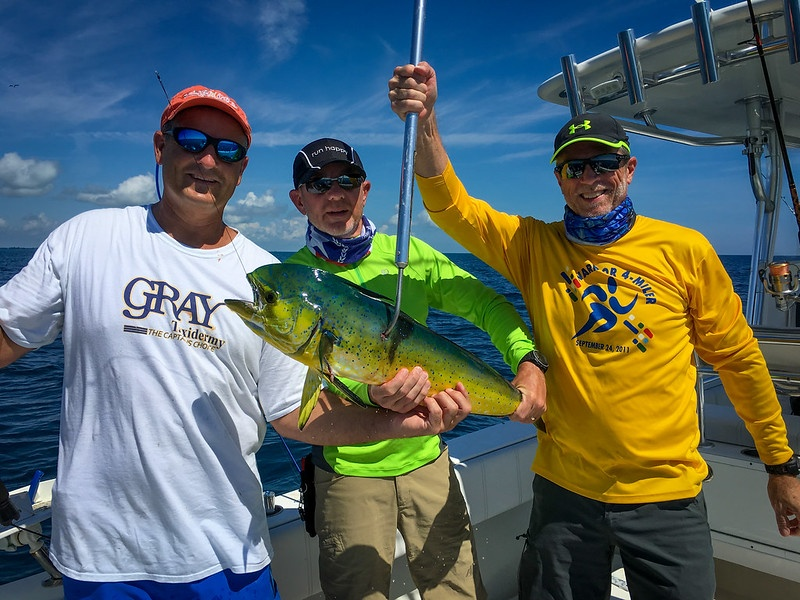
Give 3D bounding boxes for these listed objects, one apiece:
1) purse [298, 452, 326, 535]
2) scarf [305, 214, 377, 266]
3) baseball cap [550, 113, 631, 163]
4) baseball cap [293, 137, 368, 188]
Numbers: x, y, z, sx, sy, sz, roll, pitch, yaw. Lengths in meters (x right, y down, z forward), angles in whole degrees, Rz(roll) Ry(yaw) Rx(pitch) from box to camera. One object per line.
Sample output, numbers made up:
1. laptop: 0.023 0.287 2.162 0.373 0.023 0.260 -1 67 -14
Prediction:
1. purse: -0.494 1.070 3.543 0.114 0.394 0.114 -4 -6 40
2. scarf: -0.287 -0.335 3.574 0.366 0.172 0.396 -14 -14 9
3. baseball cap: 1.035 -0.904 3.540 0.389 0.238 0.519 -7 -4 16
4. baseball cap: -0.383 -0.770 3.480 0.335 0.201 0.410 -9 1 -23
